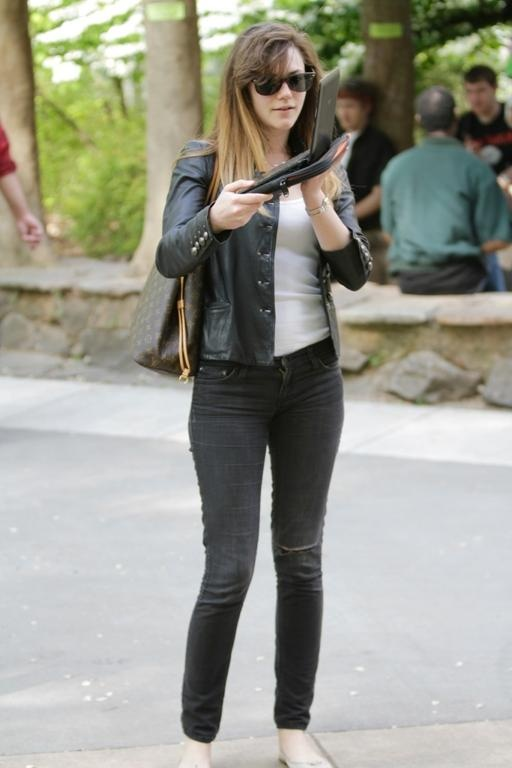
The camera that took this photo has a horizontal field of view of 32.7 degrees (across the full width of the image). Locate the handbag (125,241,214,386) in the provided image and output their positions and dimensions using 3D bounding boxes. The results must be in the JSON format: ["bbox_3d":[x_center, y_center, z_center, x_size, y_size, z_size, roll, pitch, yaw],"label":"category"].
[{"bbox_3d":[-0.182,-0.126,1.820,0.162,0.249,0.156,1,20,14],"label":"handbag"}]

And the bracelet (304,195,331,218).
[{"bbox_3d":[0.120,-0.350,1.736,0.045,0.040,0.016,-11,58,-35],"label":"bracelet"}]

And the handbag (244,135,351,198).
[{"bbox_3d":[0.086,-0.402,1.644,0.186,0.045,0.139,-32,9,-34],"label":"handbag"}]

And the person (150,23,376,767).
[{"bbox_3d":[0.027,0.071,1.859,0.415,1.593,0.672,0,21,10],"label":"person"}]
